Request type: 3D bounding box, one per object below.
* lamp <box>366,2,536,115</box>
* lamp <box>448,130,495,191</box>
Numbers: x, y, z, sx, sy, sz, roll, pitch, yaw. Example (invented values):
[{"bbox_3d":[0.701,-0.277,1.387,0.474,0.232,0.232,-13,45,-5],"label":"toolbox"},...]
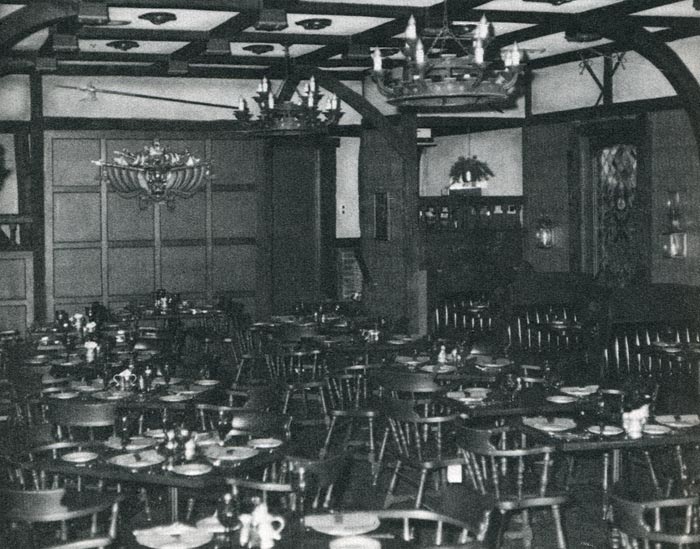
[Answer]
[{"bbox_3d":[1.038,-2.372,12.150,1.544,1.443,1.490,-2,6,-29],"label":"lamp"},{"bbox_3d":[2.203,-2.072,21.611,1.022,1.083,0.815,-1,0,-14],"label":"lamp"}]
